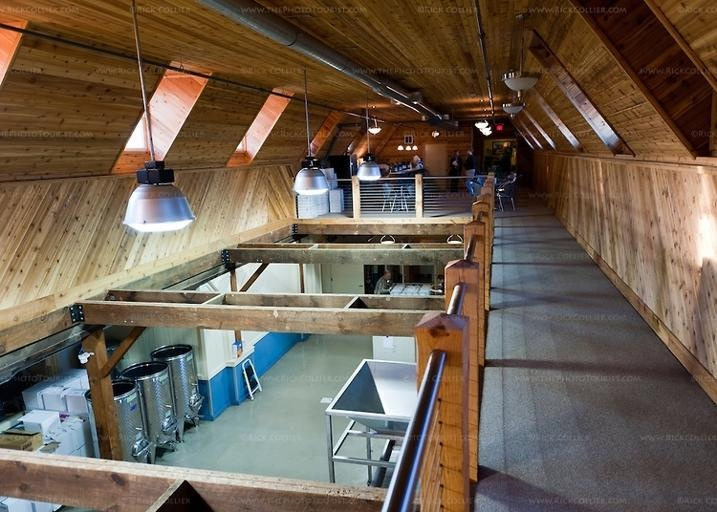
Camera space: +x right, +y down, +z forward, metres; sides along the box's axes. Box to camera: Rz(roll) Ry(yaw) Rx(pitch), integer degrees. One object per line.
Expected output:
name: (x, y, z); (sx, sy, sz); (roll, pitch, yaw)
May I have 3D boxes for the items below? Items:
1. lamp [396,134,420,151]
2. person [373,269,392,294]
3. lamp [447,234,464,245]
lamp: (1.984, -4.465, 19.276); (0.869, 0.595, 0.179); (-1, 11, 4)
person: (0.577, 0.600, 11.704); (0.291, 0.748, 0.289); (1, 53, -6)
lamp: (1.856, -0.332, 9.687); (0.414, 0.121, 0.366); (-6, 8, -19)
